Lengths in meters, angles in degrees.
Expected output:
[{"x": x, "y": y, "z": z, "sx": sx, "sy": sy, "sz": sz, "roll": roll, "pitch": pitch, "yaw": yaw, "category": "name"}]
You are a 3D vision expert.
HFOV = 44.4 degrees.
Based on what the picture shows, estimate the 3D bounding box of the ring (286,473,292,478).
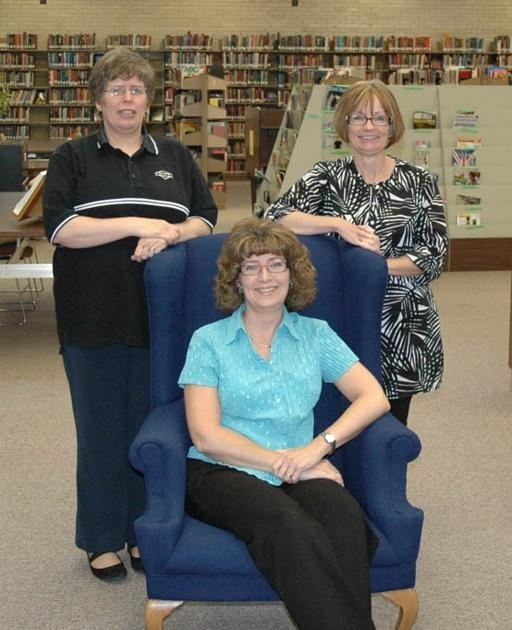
[{"x": 0.072, "y": 0.353, "z": 1.381, "sx": 0.012, "sy": 0.010, "sz": 0.004, "roll": -3, "pitch": 16, "yaw": -10, "category": "ring"}]

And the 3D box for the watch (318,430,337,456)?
[{"x": 0.163, "y": 0.296, "z": 1.449, "sx": 0.040, "sy": 0.048, "sz": 0.057, "roll": 5, "pitch": -7, "yaw": 0, "category": "watch"}]
